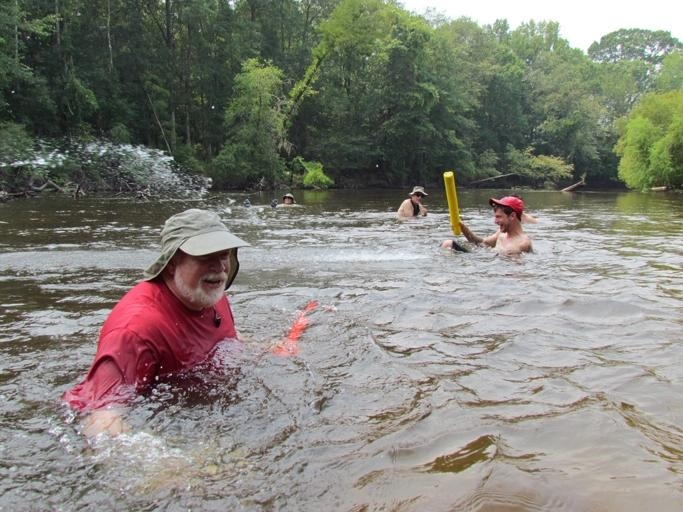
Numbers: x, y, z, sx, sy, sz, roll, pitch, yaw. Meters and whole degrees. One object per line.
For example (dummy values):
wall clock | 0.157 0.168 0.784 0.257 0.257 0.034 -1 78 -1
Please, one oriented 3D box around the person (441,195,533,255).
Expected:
person | 2.891 -0.566 10.919 0.879 1.007 1.317 -6 6 -12

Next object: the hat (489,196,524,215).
hat | 3.009 -0.937 10.701 0.659 0.171 0.355 11 2 -11

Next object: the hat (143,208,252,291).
hat | -1.073 -0.087 5.022 0.685 0.345 0.810 -4 -11 25

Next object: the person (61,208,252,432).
person | -1.420 0.438 4.782 1.459 1.594 0.622 -9 8 -35
